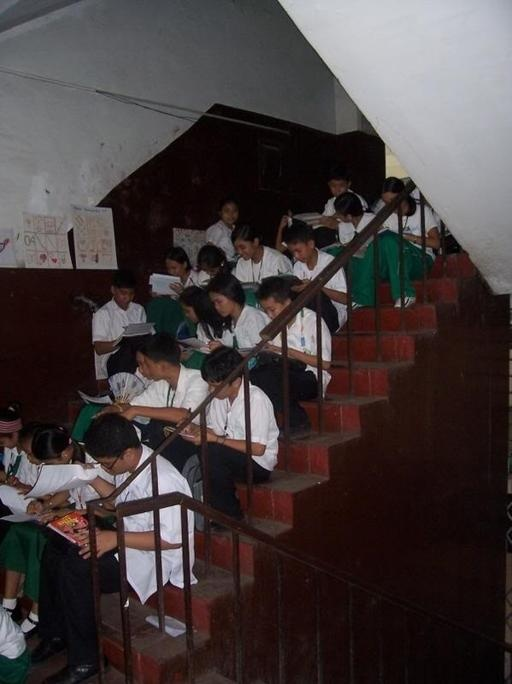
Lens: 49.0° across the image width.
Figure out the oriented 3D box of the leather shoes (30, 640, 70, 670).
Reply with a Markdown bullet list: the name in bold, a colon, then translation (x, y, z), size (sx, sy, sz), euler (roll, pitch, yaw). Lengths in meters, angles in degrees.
- **leather shoes**: translation (-0.827, 1.242, 2.231), size (0.052, 0.095, 0.142), euler (-5, -11, 37)

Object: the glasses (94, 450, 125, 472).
- **glasses**: translation (-0.511, 0.433, 1.991), size (0.082, 0.058, 0.105), euler (-4, 41, -27)
